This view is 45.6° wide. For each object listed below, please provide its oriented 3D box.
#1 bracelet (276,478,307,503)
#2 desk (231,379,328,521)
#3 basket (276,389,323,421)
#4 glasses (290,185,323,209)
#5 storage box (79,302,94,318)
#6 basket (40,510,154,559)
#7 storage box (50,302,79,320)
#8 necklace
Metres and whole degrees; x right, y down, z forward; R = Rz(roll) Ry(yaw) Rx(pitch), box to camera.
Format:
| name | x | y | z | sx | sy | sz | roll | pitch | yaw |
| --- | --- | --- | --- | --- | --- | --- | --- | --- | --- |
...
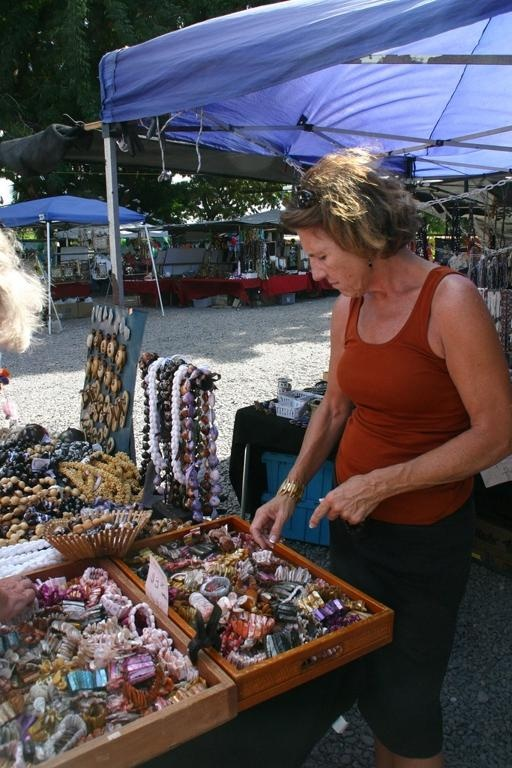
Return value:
| name | x | y | z | sx | sy | sz | roll | pitch | yaw |
| --- | --- | --- | --- | --- | --- | --- | --- | --- | --- |
| bracelet | 0.094 | 0.276 | 1.644 | 0.053 | 0.062 | 0.064 | 32 | -17 | -25 |
| desk | 0.025 | 0.354 | 3.392 | 0.729 | 0.513 | 0.650 | -8 | 21 | -28 |
| basket | 0.240 | 0.104 | 3.249 | 0.143 | 0.066 | 0.201 | 9 | 14 | 37 |
| glasses | 0.115 | -0.398 | 1.297 | 0.054 | 0.035 | 0.066 | 1 | 27 | -2 |
| storage box | -3.860 | -1.682 | 13.865 | 0.232 | 0.348 | 0.497 | 1 | 13 | 5 |
| basket | -0.424 | 0.396 | 1.557 | 0.202 | 0.076 | 0.206 | -2 | -4 | 0 |
| storage box | -4.227 | -1.634 | 13.571 | 0.435 | 0.252 | 0.434 | 11 | 18 | 34 |
| necklace | -0.285 | 0.181 | 2.258 | 0.198 | 0.570 | 0.446 | -11 | 17 | -38 |
